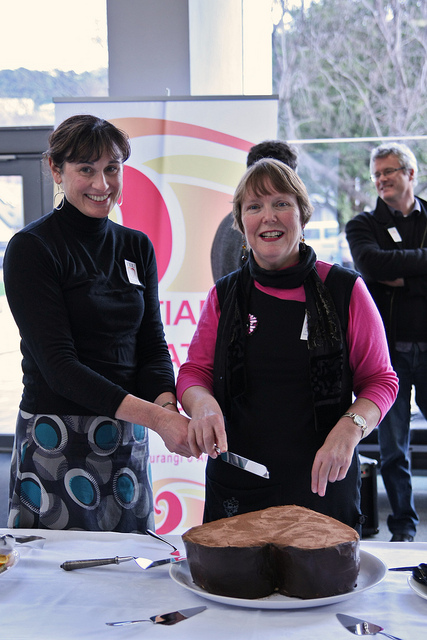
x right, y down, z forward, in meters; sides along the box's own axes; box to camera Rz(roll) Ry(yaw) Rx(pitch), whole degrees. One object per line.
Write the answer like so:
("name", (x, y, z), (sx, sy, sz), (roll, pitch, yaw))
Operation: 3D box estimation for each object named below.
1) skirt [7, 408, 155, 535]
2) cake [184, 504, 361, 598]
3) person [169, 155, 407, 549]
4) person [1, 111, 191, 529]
("skirt", (-0.318, 0.360, 1.503), (0.360, 0.288, 0.181), (4, -10, -21))
("cake", (0.088, 0.391, 1.057), (0.282, 0.081, 0.285), (-4, -2, 4))
("person", (0.123, 0.054, 1.460), (0.507, 0.871, 0.561), (-6, 4, -39))
("person", (-0.306, 0.020, 1.530), (0.455, 1.058, 0.537), (-3, 3, -4))
